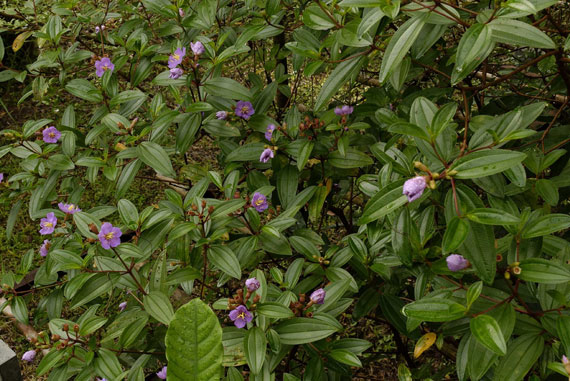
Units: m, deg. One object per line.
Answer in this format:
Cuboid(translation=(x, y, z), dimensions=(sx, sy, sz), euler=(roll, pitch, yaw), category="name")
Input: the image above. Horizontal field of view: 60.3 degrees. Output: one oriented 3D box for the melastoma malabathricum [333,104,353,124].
Cuboid(translation=(0.324, -0.434, 2.758), dimensions=(0.107, 0.113, 0.113), euler=(19, 19, -7), category="melastoma malabathricum")
